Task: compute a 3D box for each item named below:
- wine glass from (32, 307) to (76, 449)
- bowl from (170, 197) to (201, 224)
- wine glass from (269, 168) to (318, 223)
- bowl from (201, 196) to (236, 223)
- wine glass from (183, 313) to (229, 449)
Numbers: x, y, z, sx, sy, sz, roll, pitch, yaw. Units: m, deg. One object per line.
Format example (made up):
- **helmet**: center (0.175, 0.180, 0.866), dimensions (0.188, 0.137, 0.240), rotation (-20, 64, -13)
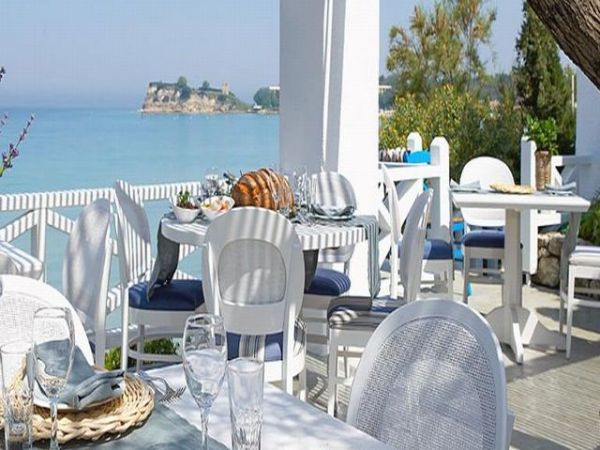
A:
- **wine glass**: center (-0.548, 0.342, 1.359), dimensions (0.084, 0.283, 0.140), rotation (-3, 9, -22)
- **bowl**: center (-0.643, -0.068, 3.431), dimensions (0.109, 0.081, 0.124), rotation (7, -3, 7)
- **wine glass**: center (-0.017, -0.143, 3.530), dimensions (0.263, 0.337, 0.287), rotation (0, 0, 18)
- **bowl**: center (-0.477, -0.052, 3.500), dimensions (0.171, 0.101, 0.175), rotation (-4, 26, 2)
- **wine glass**: center (-0.216, 0.368, 1.377), dimensions (0.095, 0.301, 0.125), rotation (-1, 8, -11)
